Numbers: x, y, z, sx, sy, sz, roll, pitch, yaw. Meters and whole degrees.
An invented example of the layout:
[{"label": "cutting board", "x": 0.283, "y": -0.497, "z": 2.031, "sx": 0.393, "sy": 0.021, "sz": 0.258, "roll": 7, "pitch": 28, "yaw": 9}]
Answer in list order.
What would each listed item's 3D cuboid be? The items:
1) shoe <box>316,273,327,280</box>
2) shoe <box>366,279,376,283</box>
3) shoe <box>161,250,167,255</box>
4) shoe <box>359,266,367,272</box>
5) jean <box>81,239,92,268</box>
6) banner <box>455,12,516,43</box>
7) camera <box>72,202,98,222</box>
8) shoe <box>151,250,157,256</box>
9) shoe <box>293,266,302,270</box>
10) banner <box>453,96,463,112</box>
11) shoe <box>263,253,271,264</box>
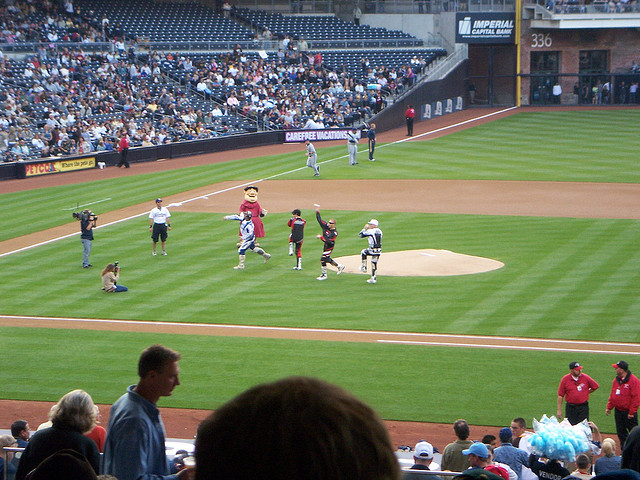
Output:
[{"label": "shoe", "x": 0.137, "y": 1.668, "z": 65.407, "sx": 0.378, "sy": 0.303, "sz": 0.375, "roll": 2, "pitch": 5, "yaw": 14}, {"label": "shoe", "x": 2.350, "y": 1.876, "z": 64.921, "sx": 0.463, "sy": 0.160, "sz": 0.290, "roll": 2, "pitch": 5, "yaw": 18}, {"label": "shoe", "x": -7.420, "y": 0.581, "z": 67.989, "sx": 0.219, "sy": 0.223, "sz": 0.179, "roll": -3, "pitch": 6, "yaw": -31}, {"label": "shoe", "x": 2.020, "y": 1.369, "z": 65.918, "sx": 0.305, "sy": 0.303, "sz": 0.870, "roll": -2, "pitch": 4, "yaw": -12}, {"label": "jean", "x": -10.994, "y": 0.591, "z": 66.945, "sx": 0.407, "sy": 1.324, "sz": 0.814, "roll": 0, "pitch": 6, "yaw": -9}, {"label": "banner", "x": 11.798, "y": -15.254, "z": 100.527, "sx": 4.356, "sy": 2.190, "sz": 0.457, "roll": -1, "pitch": 6, "yaw": -16}, {"label": "camera", "x": -10.959, "y": -1.175, "z": 66.243, "sx": 1.000, "sy": 0.516, "sz": 0.554, "roll": 5, "pitch": 7, "yaw": 2}, {"label": "shoe", "x": -7.927, "y": 0.603, "z": 68.142, "sx": 0.277, "sy": 0.275, "sz": 0.390, "roll": 0, "pitch": 5, "yaw": -11}, {"label": "shoe", "x": -1.042, "y": 1.309, "z": 66.234, "sx": 0.351, "sy": 0.148, "sz": 0.236, "roll": 0, "pitch": 5, "yaw": -2}, {"label": "banner", "x": 9.991, "y": -9.970, "z": 102.557, "sx": 0.671, "sy": 1.021, "sz": 1.198, "roll": 19, "pitch": 26, "yaw": 39}, {"label": "shoe", "x": -2.495, "y": 0.876, "z": 67.132, "sx": 0.267, "sy": 0.502, "sz": 0.709, "roll": 1, "pitch": 5, "yaw": -2}]
